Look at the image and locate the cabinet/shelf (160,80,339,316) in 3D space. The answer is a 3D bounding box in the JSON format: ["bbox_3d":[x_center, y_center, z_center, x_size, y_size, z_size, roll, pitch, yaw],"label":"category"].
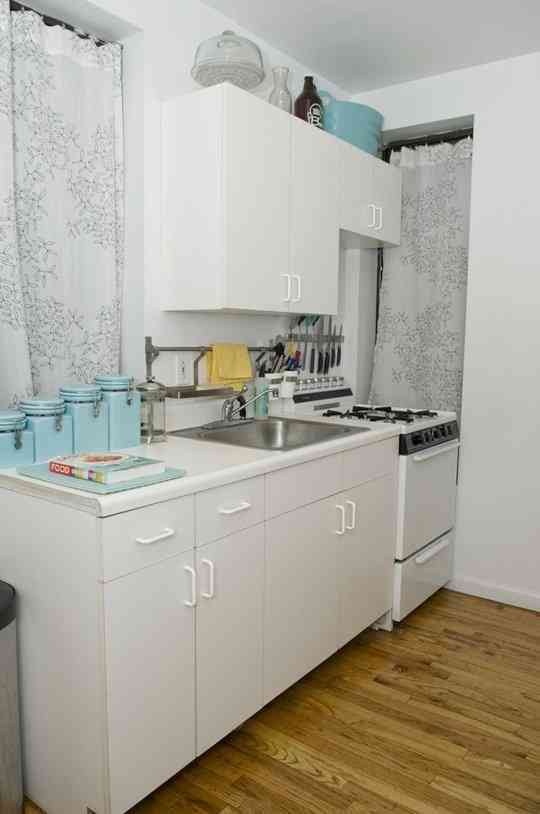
[{"bbox_3d":[0.142,-0.692,2.364,0.772,0.711,0.314,4,6,32],"label":"cabinet/shelf"}]

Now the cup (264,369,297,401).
[{"bbox_3d":[0.048,-0.103,2.776,0.160,0.147,0.117,8,14,41],"label":"cup"}]

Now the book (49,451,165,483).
[{"bbox_3d":[-0.393,0.137,1.488,0.235,0.036,0.183,7,7,36],"label":"book"}]

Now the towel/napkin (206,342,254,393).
[{"bbox_3d":[-0.169,-0.160,2.499,0.072,0.212,0.212,3,4,35],"label":"towel/napkin"}]

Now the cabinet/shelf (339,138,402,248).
[{"bbox_3d":[0.407,-0.978,2.979,0.190,0.361,0.558,5,9,39],"label":"cabinet/shelf"}]
